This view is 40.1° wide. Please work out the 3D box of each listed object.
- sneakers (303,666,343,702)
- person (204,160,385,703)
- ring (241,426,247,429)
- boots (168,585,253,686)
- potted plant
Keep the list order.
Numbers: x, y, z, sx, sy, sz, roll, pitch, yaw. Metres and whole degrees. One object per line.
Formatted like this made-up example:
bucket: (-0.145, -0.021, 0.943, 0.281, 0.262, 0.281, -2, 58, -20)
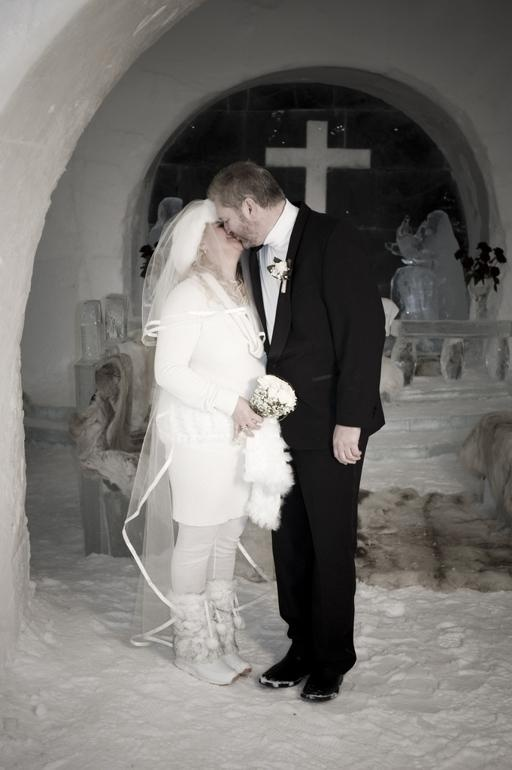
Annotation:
sneakers: (0.178, 0.846, 1.969, 0.046, 0.047, 0.133, 1, -7, 15)
person: (0.108, 0.131, 2.008, 0.493, 1.498, 0.252, 1, 5, 9)
ring: (-0.035, 0.114, 1.909, 0.010, 0.008, 0.029, 5, 11, 2)
boots: (-0.126, 0.712, 2.142, 0.259, 0.266, 0.286, -1, -1, 26)
potted plant: (1.753, -0.839, 5.508, 0.386, 0.649, 0.964, 2, 5, 16)
